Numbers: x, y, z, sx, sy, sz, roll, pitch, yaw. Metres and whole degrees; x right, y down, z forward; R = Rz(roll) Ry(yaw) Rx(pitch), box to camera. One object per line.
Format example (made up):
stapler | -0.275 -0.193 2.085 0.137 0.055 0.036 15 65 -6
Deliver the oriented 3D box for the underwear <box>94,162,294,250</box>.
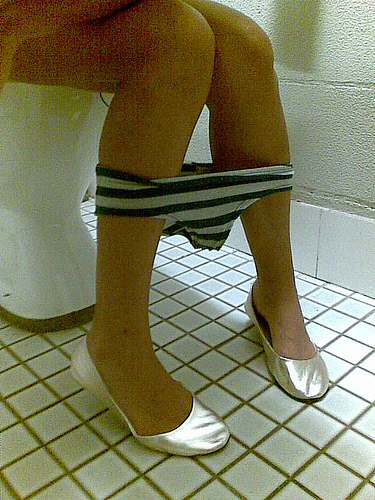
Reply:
underwear | 0.023 -0.055 0.550 0.292 0.106 0.079 -11 15 -34
